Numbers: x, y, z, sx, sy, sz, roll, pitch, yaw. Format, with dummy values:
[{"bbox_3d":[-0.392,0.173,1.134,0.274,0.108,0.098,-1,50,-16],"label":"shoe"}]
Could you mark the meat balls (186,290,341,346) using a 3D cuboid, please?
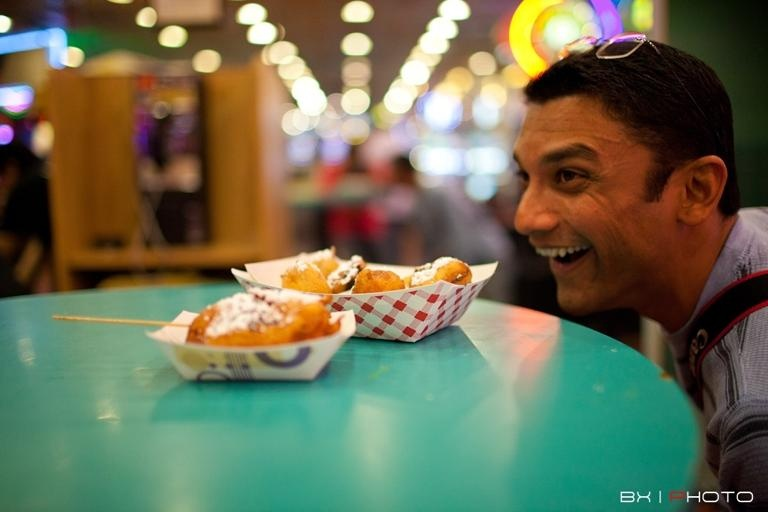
[{"bbox_3d":[-0.277,0.157,1.658,0.213,0.131,0.277,-9,-8,39],"label":"meat balls"}]
